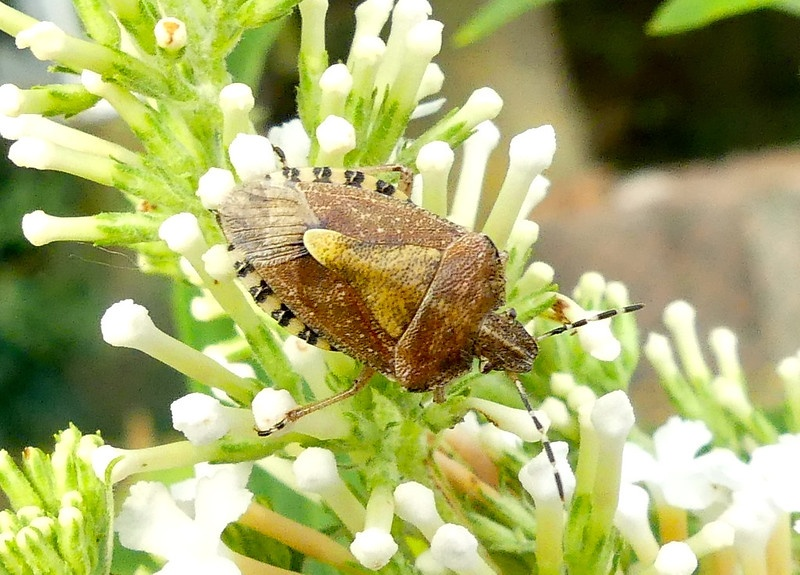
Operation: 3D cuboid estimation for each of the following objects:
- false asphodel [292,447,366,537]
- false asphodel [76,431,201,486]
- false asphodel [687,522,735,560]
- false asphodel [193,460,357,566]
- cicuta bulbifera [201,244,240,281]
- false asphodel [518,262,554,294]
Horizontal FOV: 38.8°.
[{"bbox_3d":[-0.185,0.521,2.964,0.189,0.200,0.247,-8,99,-9],"label":"false asphodel"},{"bbox_3d":[-0.668,0.462,2.961,0.327,0.096,0.117,-11,38,-2],"label":"false asphodel"},{"bbox_3d":[0.819,0.658,2.985,0.119,0.060,0.071,-25,82,-4],"label":"false asphodel"},{"bbox_3d":[-0.346,0.636,3.162,0.361,0.282,0.321,-2,94,-34],"label":"false asphodel"},{"bbox_3d":[-0.462,-0.063,2.936,0.087,0.028,0.091,-41,104,-27],"label":"cicuta bulbifera"},{"bbox_3d":[0.386,-0.018,3.235,0.045,0.121,0.067,54,50,-7],"label":"false asphodel"}]
